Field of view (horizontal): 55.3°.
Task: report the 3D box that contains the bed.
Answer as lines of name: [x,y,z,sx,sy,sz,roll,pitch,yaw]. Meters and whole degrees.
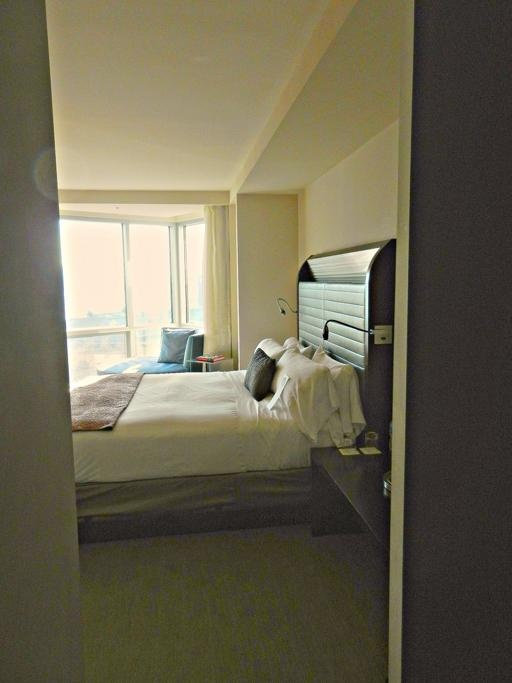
bed: [-0.014,0.369,2.242,1.185,1.076,1.315,-2,9,-6]

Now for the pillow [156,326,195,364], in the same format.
pillow: [-0.897,0.042,5.466,0.307,0.371,0.138,3,-25,8]
